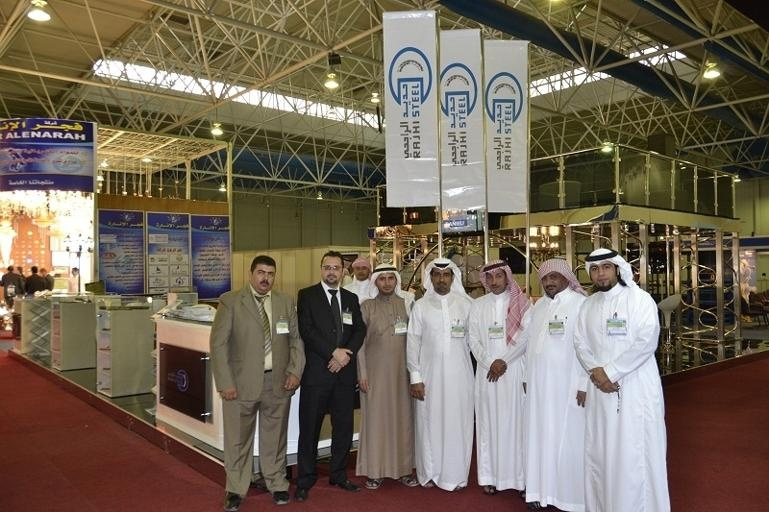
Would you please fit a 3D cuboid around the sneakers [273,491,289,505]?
[{"bbox_3d":[-1.125,2.644,6.525,0.087,0.072,0.170,2,3,-4],"label":"sneakers"}]

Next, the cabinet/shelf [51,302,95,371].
[{"bbox_3d":[-5.880,1.494,11.313,0.637,1.260,0.927,1,-2,-43],"label":"cabinet/shelf"}]

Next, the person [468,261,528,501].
[{"bbox_3d":[1.299,1.359,6.763,0.667,2.586,0.402,-1,-2,12],"label":"person"}]

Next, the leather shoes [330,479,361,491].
[{"bbox_3d":[-0.435,2.548,6.721,0.331,0.102,0.124,-4,-6,34],"label":"leather shoes"}]

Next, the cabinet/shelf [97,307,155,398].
[{"bbox_3d":[-4.203,1.519,9.675,0.759,1.364,0.848,1,-2,-37],"label":"cabinet/shelf"}]

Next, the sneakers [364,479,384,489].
[{"bbox_3d":[-0.092,2.567,6.750,0.241,0.096,0.130,0,-2,-30],"label":"sneakers"}]

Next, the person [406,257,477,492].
[{"bbox_3d":[0.650,1.340,6.897,0.761,2.599,0.380,-1,-1,8],"label":"person"}]

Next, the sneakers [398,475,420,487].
[{"bbox_3d":[0.302,2.574,6.805,0.099,0.077,0.192,1,-8,-43],"label":"sneakers"}]

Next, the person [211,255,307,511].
[{"bbox_3d":[-1.400,1.369,6.612,1.017,2.730,0.372,0,-2,-16],"label":"person"}]

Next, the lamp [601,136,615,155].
[{"bbox_3d":[4.375,-2.110,11.722,0.212,0.251,0.335,-1,-2,7],"label":"lamp"}]
